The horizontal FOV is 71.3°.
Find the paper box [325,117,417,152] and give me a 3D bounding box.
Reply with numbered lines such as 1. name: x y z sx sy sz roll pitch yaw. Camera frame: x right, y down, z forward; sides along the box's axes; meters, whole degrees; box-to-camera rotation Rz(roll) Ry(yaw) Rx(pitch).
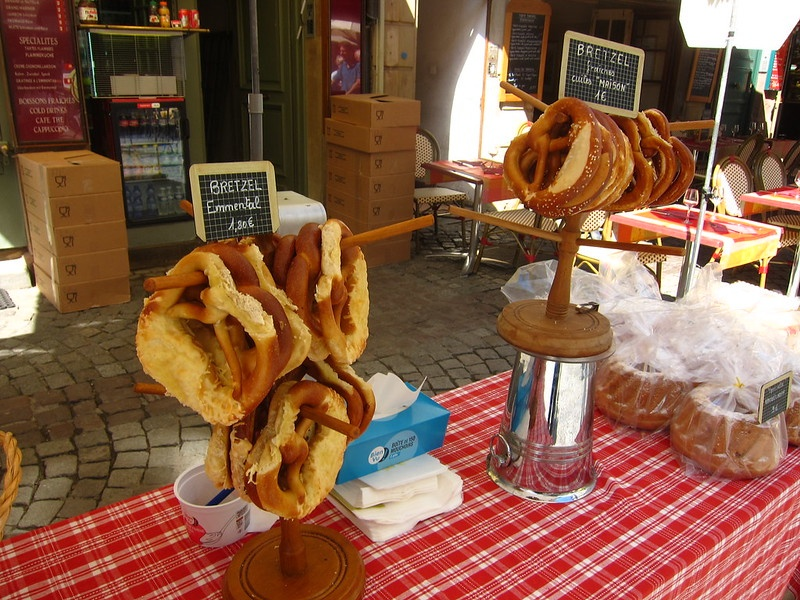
1. paper box: -0.445 -1.859 6.324 0.647 0.170 0.625 -15 31 -36

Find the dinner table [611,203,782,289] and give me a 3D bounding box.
1. dinner table: 2.615 -0.510 5.098 1.315 0.635 1.112 -16 29 -33

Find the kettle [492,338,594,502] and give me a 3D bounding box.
1. kettle: 0.467 0.342 1.747 0.349 0.465 0.333 -5 23 -7

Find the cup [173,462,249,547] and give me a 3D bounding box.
1. cup: -0.516 0.564 1.564 0.195 0.144 0.207 -2 23 1

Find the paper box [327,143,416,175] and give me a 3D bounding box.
1. paper box: -0.433 -1.596 6.439 0.639 0.169 0.592 -10 22 -30

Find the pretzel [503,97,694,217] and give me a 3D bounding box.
1. pretzel: 0.486 -0.397 1.582 0.351 0.217 0.505 -7 23 -33

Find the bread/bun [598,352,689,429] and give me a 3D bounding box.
1. bread/bun: 0.846 0.295 1.951 0.244 0.168 0.243 20 19 39

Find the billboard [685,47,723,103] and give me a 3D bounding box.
1. billboard: 6.497 -4.848 11.928 0.085 1.074 0.597 -17 32 -24

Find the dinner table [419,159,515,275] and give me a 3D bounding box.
1. dinner table: 1.045 -0.983 7.176 1.499 1.066 1.491 1 10 -20

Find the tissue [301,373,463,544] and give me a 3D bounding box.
1. tissue: -0.027 0.469 1.606 0.330 0.135 0.450 -13 37 -27

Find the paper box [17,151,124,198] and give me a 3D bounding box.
1. paper box: -3.098 -1.190 5.220 0.970 0.300 0.600 22 31 39

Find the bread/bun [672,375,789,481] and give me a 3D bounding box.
1. bread/bun: 1.107 0.400 1.850 0.354 0.223 0.355 12 33 43
